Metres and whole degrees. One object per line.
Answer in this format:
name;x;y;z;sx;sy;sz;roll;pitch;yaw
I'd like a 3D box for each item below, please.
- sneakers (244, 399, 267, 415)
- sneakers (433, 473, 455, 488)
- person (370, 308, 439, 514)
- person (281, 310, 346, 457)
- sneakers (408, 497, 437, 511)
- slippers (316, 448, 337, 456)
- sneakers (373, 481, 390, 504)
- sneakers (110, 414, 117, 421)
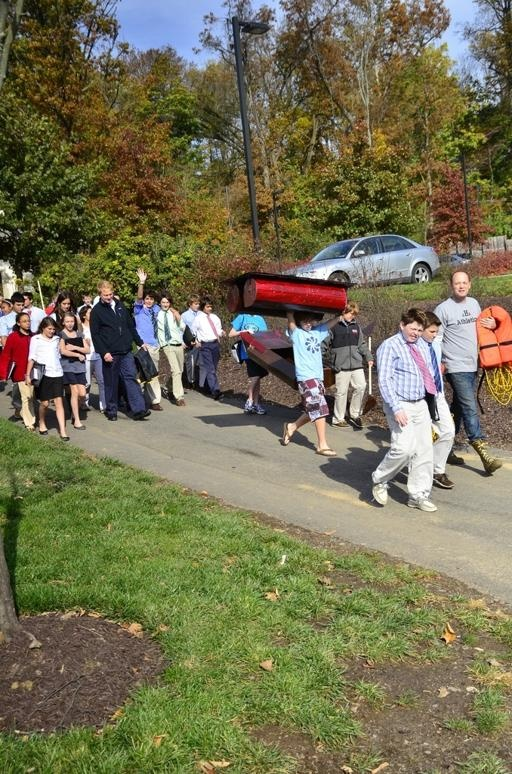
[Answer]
sneakers;0.062;0.326;11.104;0.464;0.212;0.149;6;19;-13
sneakers;1.916;0.976;7.278;0.107;0.124;0.257;-3;6;-31
person;1.424;0.243;6.512;0.735;1.912;0.552;1;8;-42
person;0.689;-0.028;8.768;0.743;1.727;1.299;7;6;5
sneakers;1.574;1.105;6.652;0.224;0.091;0.116;6;17;41
slippers;0.854;0.800;8.526;0.187;0.069;0.106;2;3;40
sneakers;1.201;1.021;6.749;0.105;0.105;0.268;30;14;-13
sneakers;-2.219;0.482;10.862;0.125;0.116;0.076;3;-7;-39
